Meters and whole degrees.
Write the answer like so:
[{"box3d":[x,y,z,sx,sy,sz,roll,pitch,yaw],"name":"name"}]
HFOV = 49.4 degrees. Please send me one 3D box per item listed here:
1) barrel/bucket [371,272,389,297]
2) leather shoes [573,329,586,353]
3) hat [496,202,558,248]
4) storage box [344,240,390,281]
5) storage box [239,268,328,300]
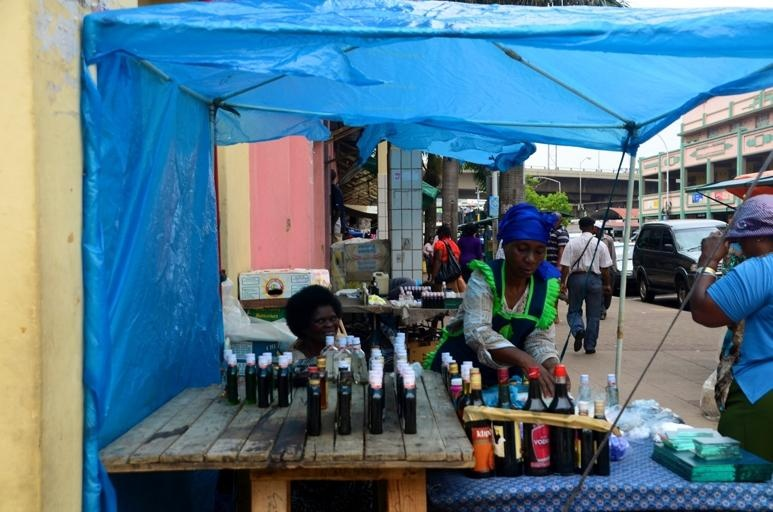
[{"box3d":[-0.066,0.364,10.628,0.267,0.375,0.137,0,-7,-11],"name":"barrel/bucket"},{"box3d":[2.517,1.107,10.864,0.123,0.394,0.153,10,34,13],"name":"leather shoes"},{"box3d":[0.932,-0.214,5.453,0.277,0.226,0.304,3,-4,-1],"name":"hat"},{"box3d":[-0.251,0.060,12.174,0.722,0.597,0.279,-1,4,-13],"name":"storage box"},{"box3d":[-0.996,0.243,7.667,0.483,0.252,0.364,0,-3,-7],"name":"storage box"}]
